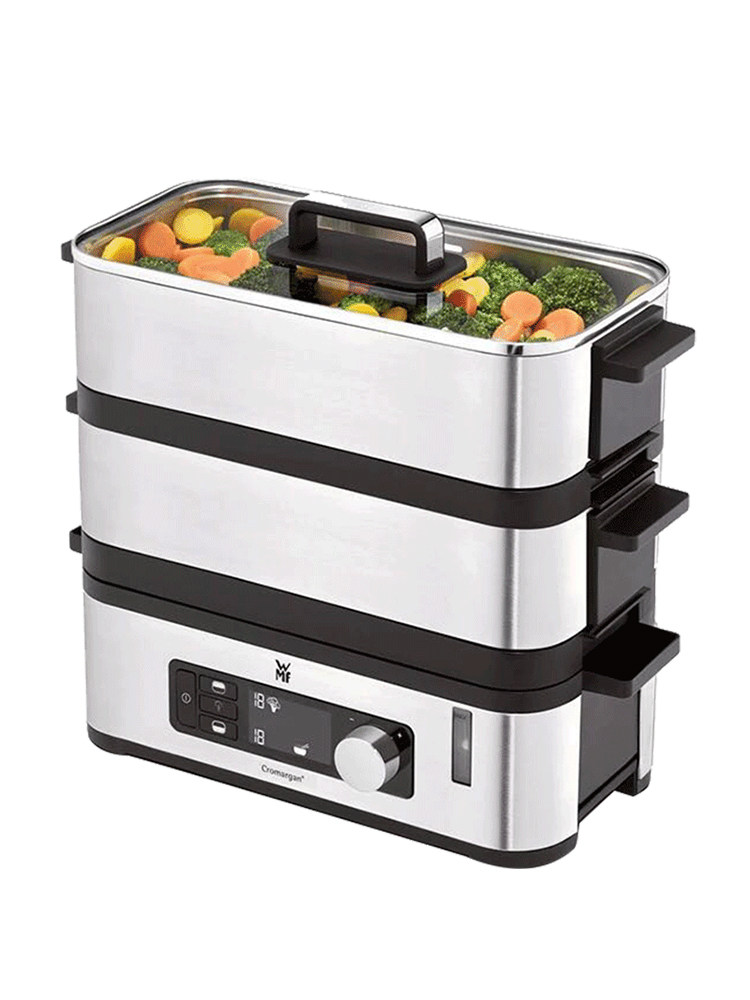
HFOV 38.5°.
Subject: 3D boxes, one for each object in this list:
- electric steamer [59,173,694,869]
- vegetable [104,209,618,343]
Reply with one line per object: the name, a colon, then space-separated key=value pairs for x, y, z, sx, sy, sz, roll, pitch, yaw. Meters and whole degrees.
electric steamer: x=-0.009 y=-0.005 z=1.370 sx=0.822 sy=0.707 sz=0.437 roll=15 pitch=27 yaw=31
vegetable: x=-0.030 y=-0.263 z=1.264 sx=0.516 sy=0.063 sz=0.257 roll=13 pitch=31 yaw=19
